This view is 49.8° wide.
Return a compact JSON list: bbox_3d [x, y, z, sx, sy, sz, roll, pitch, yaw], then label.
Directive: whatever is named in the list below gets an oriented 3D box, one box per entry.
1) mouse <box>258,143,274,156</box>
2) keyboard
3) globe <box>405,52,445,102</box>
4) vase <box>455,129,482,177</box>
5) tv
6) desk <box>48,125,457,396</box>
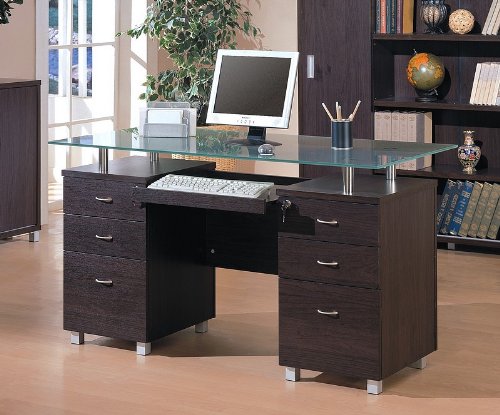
[{"bbox_3d":[0.062,-0.240,2.172,0.059,0.048,0.031,4,-13,-1],"label":"mouse"},{"bbox_3d":[-0.121,-0.151,2.310,0.617,0.091,0.376,2,16,19],"label":"keyboard"},{"bbox_3d":[1.376,-1.017,4.170,0.229,0.367,0.366,8,13,39],"label":"globe"},{"bbox_3d":[1.665,-0.410,4.148,0.142,0.398,0.170,-20,29,-39],"label":"vase"},{"bbox_3d":[0.018,-0.538,2.476,0.537,0.439,0.087,14,25,33],"label":"tv"},{"bbox_3d":[-0.045,0.192,2.485,1.662,0.842,0.692,2,3,34],"label":"desk"}]
